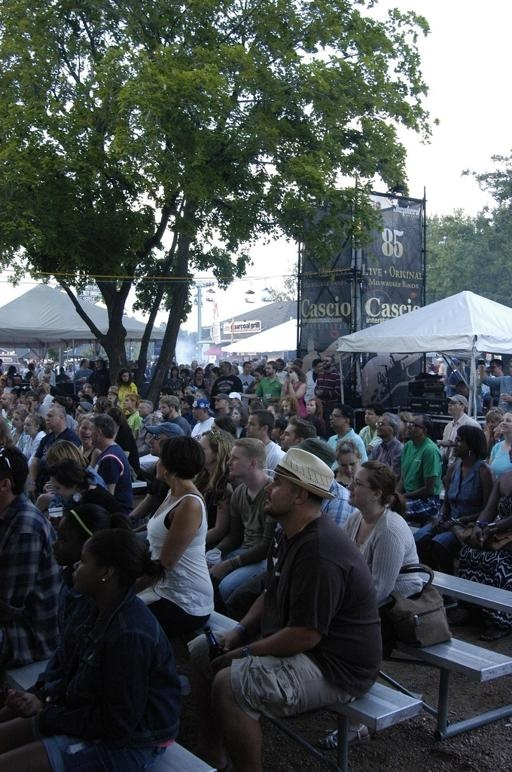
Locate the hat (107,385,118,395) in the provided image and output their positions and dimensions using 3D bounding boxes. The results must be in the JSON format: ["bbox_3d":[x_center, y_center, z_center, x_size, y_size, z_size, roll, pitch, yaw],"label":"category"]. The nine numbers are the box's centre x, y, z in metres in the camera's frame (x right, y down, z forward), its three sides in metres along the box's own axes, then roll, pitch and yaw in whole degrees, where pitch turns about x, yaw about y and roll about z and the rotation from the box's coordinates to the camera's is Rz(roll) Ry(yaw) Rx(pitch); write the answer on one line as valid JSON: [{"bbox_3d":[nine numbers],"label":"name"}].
[{"bbox_3d":[-3.137,0.065,15.198,0.190,0.225,0.253,6,18,7],"label":"hat"}]

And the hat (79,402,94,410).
[{"bbox_3d":[-2.751,0.288,11.244,0.139,0.111,0.218,16,-4,16],"label":"hat"}]

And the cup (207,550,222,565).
[{"bbox_3d":[-0.310,1.218,4.971,0.103,0.075,0.091,-13,24,-39],"label":"cup"}]

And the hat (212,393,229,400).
[{"bbox_3d":[-0.556,0.134,11.135,0.253,0.082,0.168,6,-3,-9],"label":"hat"}]

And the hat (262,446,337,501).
[{"bbox_3d":[0.190,0.381,2.973,0.235,0.091,0.204,28,-3,31],"label":"hat"}]

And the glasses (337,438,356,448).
[{"bbox_3d":[0.765,0.476,5.893,0.141,0.084,0.174,0,-8,5],"label":"glasses"}]

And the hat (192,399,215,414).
[{"bbox_3d":[-0.836,0.260,10.063,0.254,0.205,0.407,10,-4,6],"label":"hat"}]

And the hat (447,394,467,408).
[{"bbox_3d":[2.987,0.211,10.273,0.261,0.124,0.162,25,0,-18],"label":"hat"}]

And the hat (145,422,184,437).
[{"bbox_3d":[-0.837,0.405,6.558,0.419,0.147,0.263,9,0,-3],"label":"hat"}]
